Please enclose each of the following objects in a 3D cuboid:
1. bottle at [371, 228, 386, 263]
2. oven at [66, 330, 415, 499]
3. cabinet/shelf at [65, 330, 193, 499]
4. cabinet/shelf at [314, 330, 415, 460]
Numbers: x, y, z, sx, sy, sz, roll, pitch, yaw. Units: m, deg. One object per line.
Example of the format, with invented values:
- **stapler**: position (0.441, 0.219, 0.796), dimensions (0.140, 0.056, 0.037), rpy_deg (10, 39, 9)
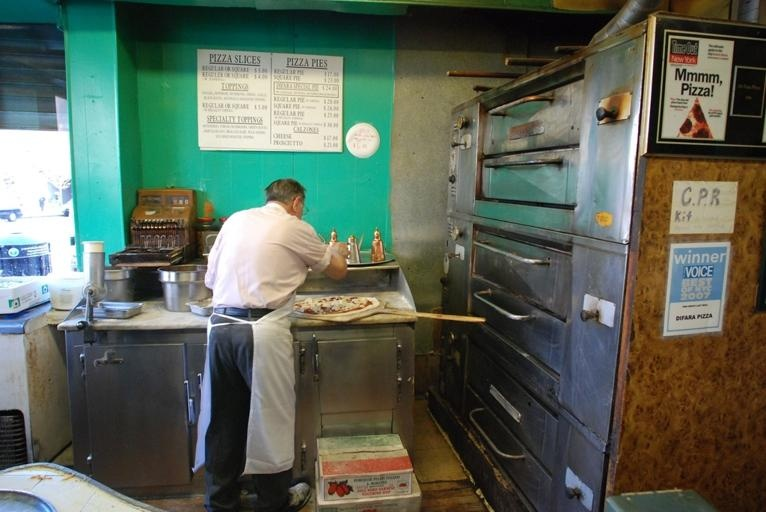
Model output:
- **bottle**: position (-0.047, -0.083, 4.887), dimensions (0.103, 0.258, 0.262), rpy_deg (-3, 7, 1)
- **oven**: position (-1.013, 1.097, 4.502), dimensions (2.352, 1.215, 0.771), rpy_deg (0, 6, -8)
- **cabinet/shelf**: position (-1.662, 1.109, 4.473), dimensions (0.948, 1.119, 0.892), rpy_deg (-3, 2, -15)
- **cabinet/shelf**: position (-0.144, 1.004, 4.471), dimensions (0.797, 1.093, 0.725), rpy_deg (0, 1, -3)
